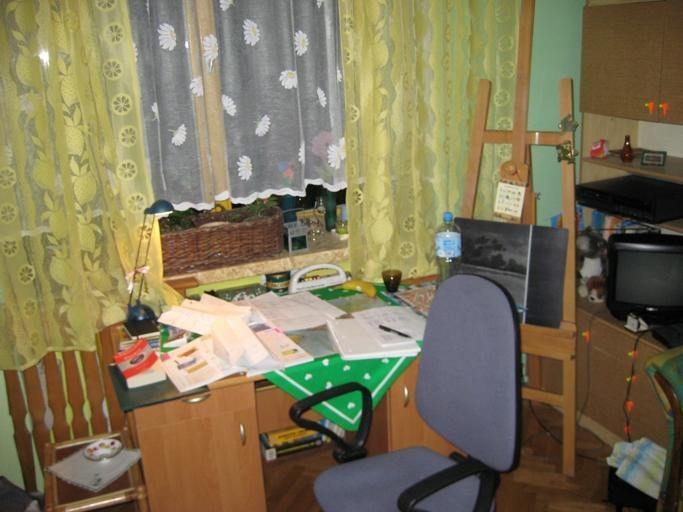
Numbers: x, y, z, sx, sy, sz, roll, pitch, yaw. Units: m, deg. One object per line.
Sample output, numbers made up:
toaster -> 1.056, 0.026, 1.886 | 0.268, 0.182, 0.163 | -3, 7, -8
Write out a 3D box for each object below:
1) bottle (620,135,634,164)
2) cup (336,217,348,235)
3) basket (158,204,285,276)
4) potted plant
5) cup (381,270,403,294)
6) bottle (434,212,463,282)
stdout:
bottle -> 1.696, -0.634, 3.149 | 0.066, 0.155, 0.208 | 3, 13, 28
cup -> 0.012, -0.181, 3.418 | 0.079, 0.081, 0.079 | 3, 6, 0
basket -> -0.689, -0.130, 3.138 | 0.670, 0.236, 0.363 | -7, 12, -22
potted plant -> -0.688, -0.130, 3.152 | 0.676, 0.228, 0.365 | -7, 12, -23
cup -> 0.288, 0.143, 2.998 | 0.113, 0.123, 0.118 | -1, 5, 0
bottle -> 0.595, -0.055, 2.907 | 0.129, 0.392, 0.252 | -1, 12, 12
